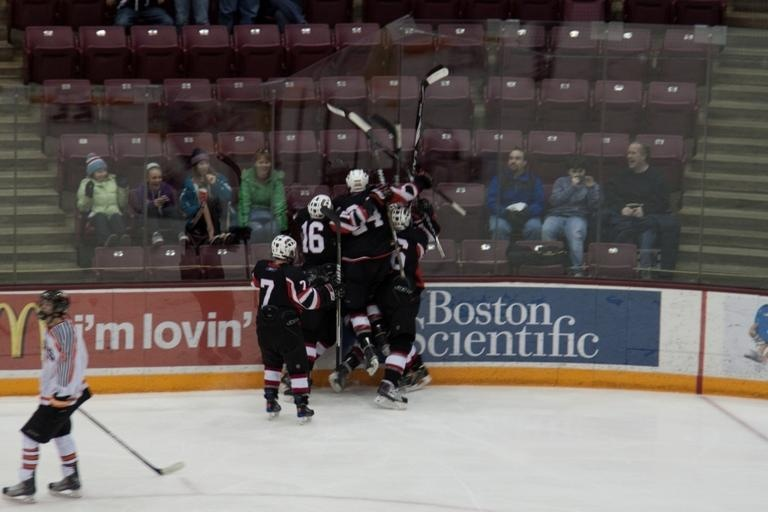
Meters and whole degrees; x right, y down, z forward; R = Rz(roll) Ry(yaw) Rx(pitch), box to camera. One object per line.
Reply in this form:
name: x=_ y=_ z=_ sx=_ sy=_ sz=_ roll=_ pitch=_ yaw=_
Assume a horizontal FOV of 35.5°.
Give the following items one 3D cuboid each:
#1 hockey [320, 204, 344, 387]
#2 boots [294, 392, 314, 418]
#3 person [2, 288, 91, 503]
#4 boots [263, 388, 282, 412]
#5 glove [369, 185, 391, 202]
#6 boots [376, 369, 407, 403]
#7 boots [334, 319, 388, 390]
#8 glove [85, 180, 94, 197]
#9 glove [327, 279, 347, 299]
hockey: x=-0.494 y=0.351 z=11.864 sx=0.171 sy=1.671 sz=0.519 roll=-2 pitch=4 yaw=-2
boots: x=-0.752 y=1.417 z=11.181 sx=0.140 sy=0.249 sz=0.278 roll=0 pitch=8 yaw=18
person: x=-2.816 y=1.161 z=10.017 sx=0.687 sy=1.713 sz=0.329 roll=-2 pitch=4 yaw=-13
boots: x=-1.058 y=1.380 z=11.380 sx=0.146 sy=0.255 sz=0.198 roll=-2 pitch=3 yaw=-6
glove: x=-0.039 y=-0.598 z=11.703 sx=0.195 sy=0.170 sz=0.105 roll=-2 pitch=3 yaw=-7
boots: x=0.072 y=1.287 z=11.544 sx=0.302 sy=0.372 sz=0.147 roll=-1 pitch=4 yaw=1
boots: x=-0.258 y=1.021 z=11.940 sx=0.415 sy=0.815 sz=0.692 roll=4 pitch=-4 yaw=9
glove: x=-2.893 y=-0.647 z=11.760 sx=0.112 sy=0.142 sz=0.044 roll=0 pitch=6 yaw=-16
glove: x=-0.465 y=0.336 z=11.595 sx=0.183 sy=0.158 sz=0.064 roll=-4 pitch=7 yaw=-16
